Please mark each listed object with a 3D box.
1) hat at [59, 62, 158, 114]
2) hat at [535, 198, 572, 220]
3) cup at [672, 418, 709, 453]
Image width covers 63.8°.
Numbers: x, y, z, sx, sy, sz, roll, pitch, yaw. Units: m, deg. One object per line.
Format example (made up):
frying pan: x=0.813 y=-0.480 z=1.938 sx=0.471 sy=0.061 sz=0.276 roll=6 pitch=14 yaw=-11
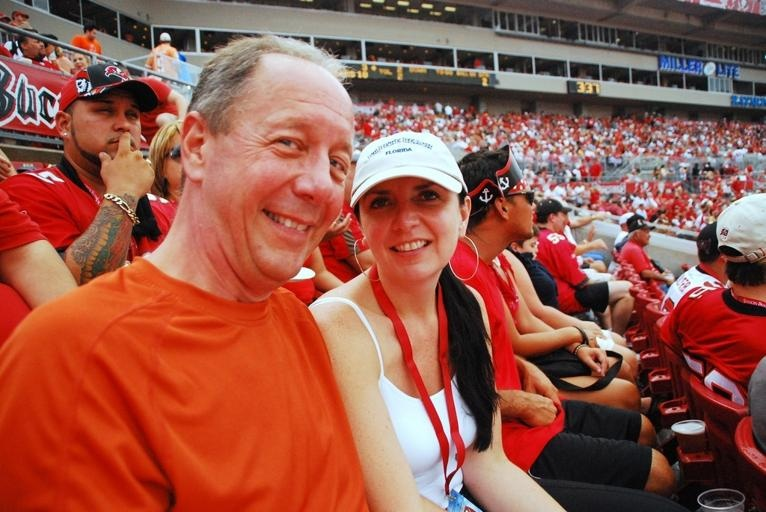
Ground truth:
hat: x=-1.497 y=-0.976 z=3.435 sx=0.285 sy=0.238 sz=0.411 roll=-6 pitch=5 yaw=-41
hat: x=2.248 y=-0.603 z=8.315 sx=0.368 sy=0.230 sz=0.268 roll=-19 pitch=18 yaw=-2
cup: x=1.876 y=1.099 z=3.803 sx=0.170 sy=0.150 sz=0.161 roll=-5 pitch=3 yaw=0
